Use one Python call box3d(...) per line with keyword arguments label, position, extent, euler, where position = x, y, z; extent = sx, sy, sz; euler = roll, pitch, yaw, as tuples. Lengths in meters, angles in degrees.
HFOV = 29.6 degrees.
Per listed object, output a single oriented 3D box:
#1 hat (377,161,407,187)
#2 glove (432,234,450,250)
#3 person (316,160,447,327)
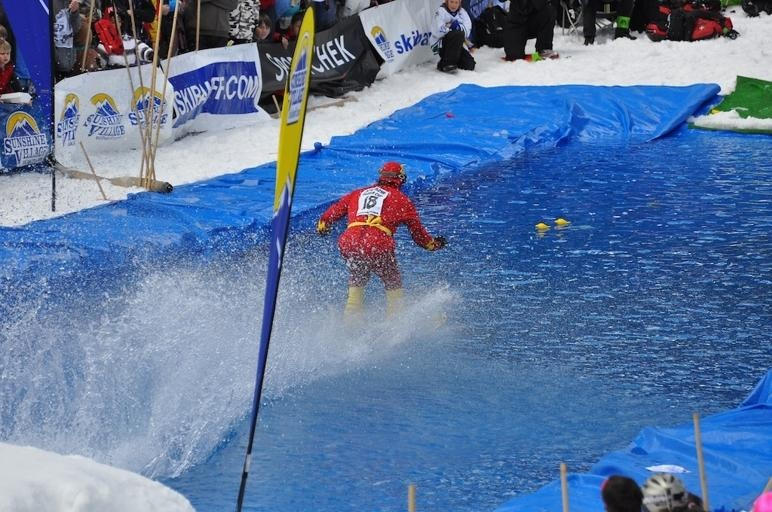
box3d(label="hat", position=(0.073, -1.044, 18.743), extent=(0.293, 0.283, 0.366), euler=(7, 18, 10))
box3d(label="glove", position=(0.692, -0.182, 18.745), extent=(0.164, 0.076, 0.185), euler=(0, 63, -4))
box3d(label="person", position=(-0.076, -0.082, 19.262), extent=(1.599, 1.924, 1.181), euler=(21, 33, 24))
